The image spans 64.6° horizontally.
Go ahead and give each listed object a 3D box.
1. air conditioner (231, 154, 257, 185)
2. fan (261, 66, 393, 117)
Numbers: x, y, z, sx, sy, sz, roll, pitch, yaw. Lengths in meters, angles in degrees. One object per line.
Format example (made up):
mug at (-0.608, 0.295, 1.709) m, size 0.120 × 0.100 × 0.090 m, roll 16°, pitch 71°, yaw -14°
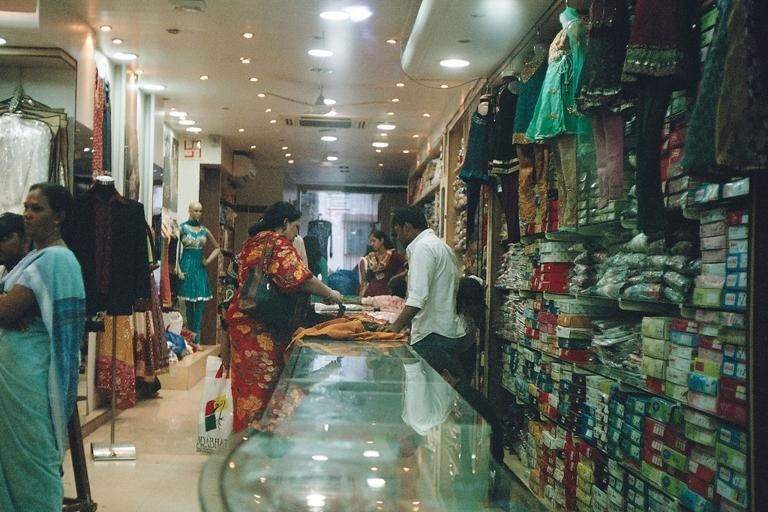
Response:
air conditioner at (-2.406, -1.415, 10.434) m, size 0.335 × 0.437 × 0.614 m, roll -1°, pitch 2°, yaw -5°
fan at (-0.726, -1.733, 7.145) m, size 1.372 × 0.275 × 0.916 m, roll 1°, pitch 1°, yaw -36°
